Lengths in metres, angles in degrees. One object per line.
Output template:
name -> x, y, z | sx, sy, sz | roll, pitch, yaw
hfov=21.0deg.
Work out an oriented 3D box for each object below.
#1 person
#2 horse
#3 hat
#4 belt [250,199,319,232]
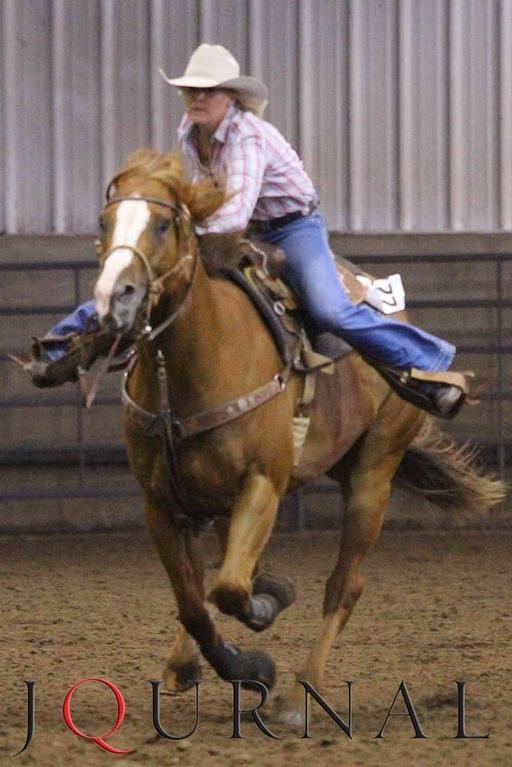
person -> 0.038, -0.544, 5.074 | 1.797, 1.113, 0.674 | 13, -5, -13
horse -> -0.024, 0.221, 4.987 | 0.654, 1.990, 1.942 | 3, 5, 25
hat -> -0.142, -1.114, 4.891 | 0.326, 0.125, 0.378 | 27, 24, 23
belt -> 0.097, -0.617, 5.161 | 0.190, 0.060, 0.127 | -2, -4, -5
